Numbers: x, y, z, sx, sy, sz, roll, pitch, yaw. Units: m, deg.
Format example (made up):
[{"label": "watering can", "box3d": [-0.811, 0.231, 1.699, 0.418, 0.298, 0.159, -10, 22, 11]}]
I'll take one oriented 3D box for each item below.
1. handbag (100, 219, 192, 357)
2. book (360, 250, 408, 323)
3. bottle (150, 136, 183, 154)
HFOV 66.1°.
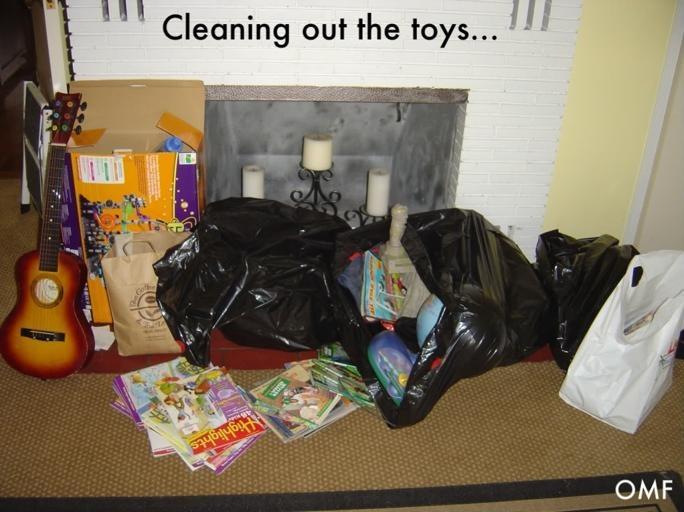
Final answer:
[{"label": "handbag", "box3d": [-0.809, 0.161, 2.224, 0.325, 0.487, 0.256, -4, 23, -15]}, {"label": "book", "box3d": [0.184, 0.124, 2.261, 0.184, 0.267, 0.291, 6, 23, 8]}, {"label": "bottle", "box3d": [-0.749, -0.494, 2.315, 0.137, 0.065, 0.072, 15, 26, 27]}]
